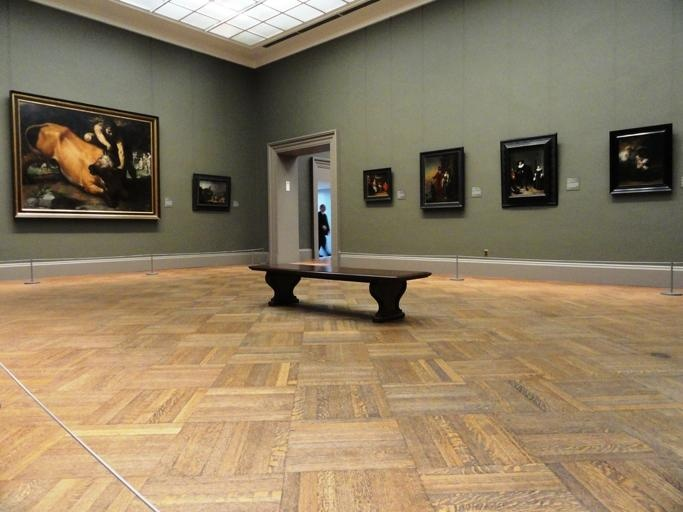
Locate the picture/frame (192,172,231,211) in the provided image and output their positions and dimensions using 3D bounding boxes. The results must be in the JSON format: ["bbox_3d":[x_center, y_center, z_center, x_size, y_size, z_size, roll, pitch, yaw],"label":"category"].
[{"bbox_3d":[-4.309,-2.093,14.379,0.136,1.170,1.538,8,8,35],"label":"picture/frame"}]

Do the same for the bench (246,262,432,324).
[{"bbox_3d":[-0.078,0.520,6.502,1.314,0.690,2.536,-5,7,-36],"label":"bench"}]
